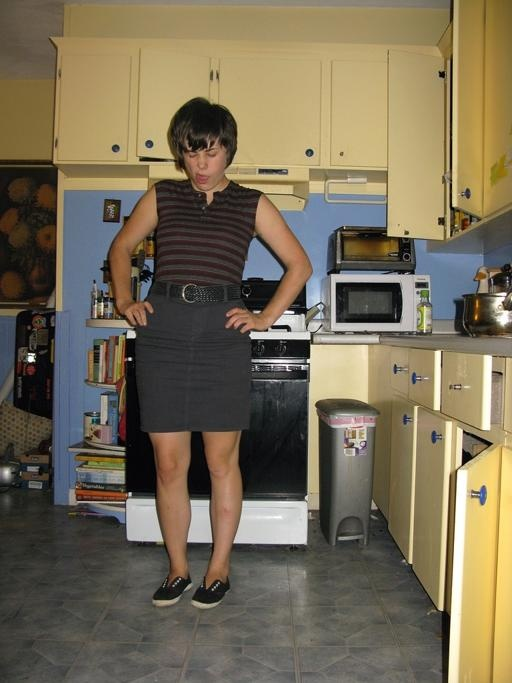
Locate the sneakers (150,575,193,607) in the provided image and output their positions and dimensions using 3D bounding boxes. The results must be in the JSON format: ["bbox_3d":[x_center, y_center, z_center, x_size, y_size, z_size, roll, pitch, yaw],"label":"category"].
[{"bbox_3d":[-0.254,0.747,1.760,0.050,0.052,0.139,-1,-9,17],"label":"sneakers"}]

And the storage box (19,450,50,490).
[{"bbox_3d":[-1.154,0.670,3.128,0.187,0.189,0.192,1,3,-1],"label":"storage box"}]

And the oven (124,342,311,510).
[{"bbox_3d":[-0.214,0.321,2.344,0.780,0.722,0.542,5,-8,-24],"label":"oven"}]

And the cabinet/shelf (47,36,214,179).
[{"bbox_3d":[-0.538,-1.071,2.776,0.729,0.547,0.411,2,1,4],"label":"cabinet/shelf"}]

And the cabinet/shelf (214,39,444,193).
[{"bbox_3d":[0.325,-0.997,2.558,0.912,0.448,0.296,0,4,2],"label":"cabinet/shelf"}]

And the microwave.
[{"bbox_3d":[0.526,-0.173,2.581,0.366,0.236,0.281,0,0,-5],"label":"microwave"}]

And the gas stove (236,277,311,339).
[{"bbox_3d":[0.072,-0.168,2.619,0.309,0.298,0.229,-2,27,10],"label":"gas stove"}]

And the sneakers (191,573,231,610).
[{"bbox_3d":[-0.137,0.744,1.733,0.051,0.053,0.132,-1,-9,21],"label":"sneakers"}]

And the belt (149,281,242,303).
[{"bbox_3d":[-0.167,-0.131,1.617,0.244,0.059,0.073,1,0,-8],"label":"belt"}]

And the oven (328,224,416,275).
[{"bbox_3d":[0.541,-0.412,2.753,0.345,0.220,0.252,1,-1,4],"label":"oven"}]

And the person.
[{"bbox_3d":[-0.143,0.070,1.718,0.473,1.447,0.402,2,-1,-38],"label":"person"}]
